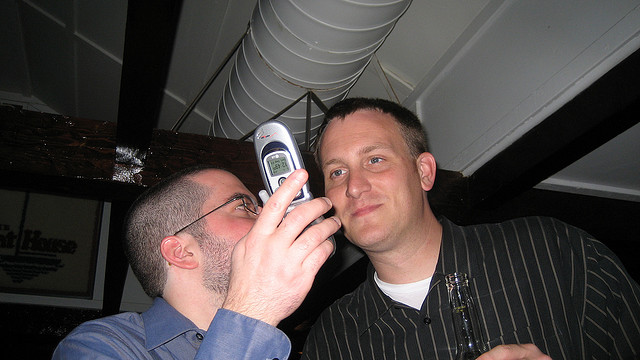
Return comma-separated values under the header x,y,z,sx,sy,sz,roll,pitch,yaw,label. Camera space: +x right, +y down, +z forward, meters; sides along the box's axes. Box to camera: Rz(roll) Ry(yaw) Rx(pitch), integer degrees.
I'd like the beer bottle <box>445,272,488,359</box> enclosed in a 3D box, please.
x,y,z,sx,sy,sz,roll,pitch,yaw,label
0.766,0.713,2.128,0.191,0.437,0.187,-1,-3,0,beer bottle
